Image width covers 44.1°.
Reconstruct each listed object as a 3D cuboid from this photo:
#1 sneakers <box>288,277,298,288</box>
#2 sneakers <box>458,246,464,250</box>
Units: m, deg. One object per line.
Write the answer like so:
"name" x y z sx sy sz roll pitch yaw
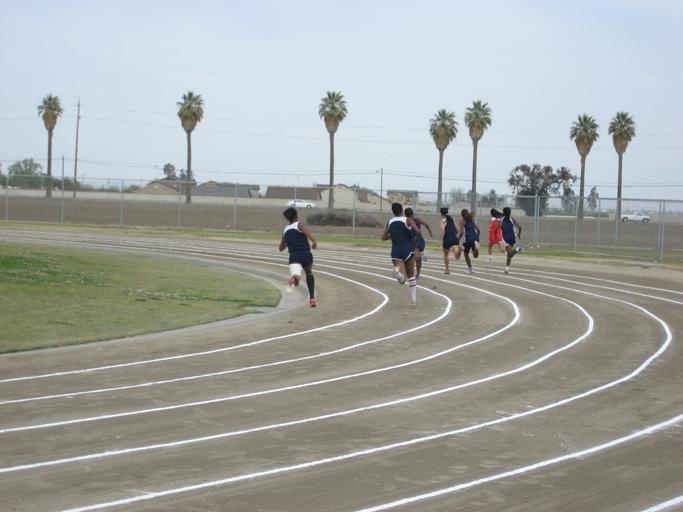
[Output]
"sneakers" -0.958 0.533 16.656 0.214 0.248 0.501 0 10 -4
"sneakers" 3.629 -0.242 25.883 0.164 0.106 0.232 -1 -5 18
